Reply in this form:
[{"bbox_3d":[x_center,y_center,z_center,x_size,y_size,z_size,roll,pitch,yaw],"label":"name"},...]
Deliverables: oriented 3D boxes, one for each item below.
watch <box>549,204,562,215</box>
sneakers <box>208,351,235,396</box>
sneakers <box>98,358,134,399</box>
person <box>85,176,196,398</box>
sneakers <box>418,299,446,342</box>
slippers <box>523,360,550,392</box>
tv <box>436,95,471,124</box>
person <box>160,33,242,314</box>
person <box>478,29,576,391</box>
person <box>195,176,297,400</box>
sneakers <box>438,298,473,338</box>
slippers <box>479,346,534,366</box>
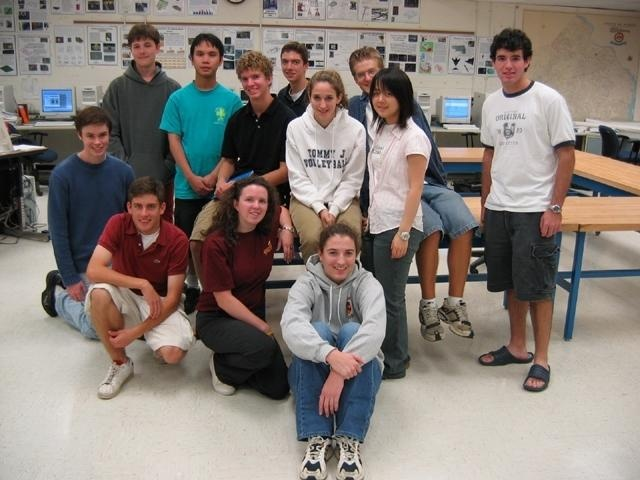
[{"bbox_3d":[1.339,-0.186,2.976,0.065,0.044,0.066,6,5,-16],"label":"watch"},{"bbox_3d":[-0.577,0.769,3.071,0.101,0.281,0.107,0,-29,-45],"label":"sneakers"},{"bbox_3d":[-1.179,0.793,3.010,0.106,0.128,0.294,8,19,11],"label":"sneakers"},{"bbox_3d":[-1.042,0.238,3.059,0.639,1.171,0.450,-8,18,-26],"label":"person"},{"bbox_3d":[0.675,0.494,3.171,0.105,0.130,0.285,-3,22,2],"label":"sneakers"},{"bbox_3d":[1.291,0.808,3.088,0.082,0.076,0.230,-1,10,27],"label":"slippers"},{"bbox_3d":[2.150,-2.052,8.411,0.548,0.484,0.405,1,13,1],"label":"tv"},{"bbox_3d":[-0.845,-0.499,3.882,0.621,1.975,0.570,-2,9,-16],"label":"person"},{"bbox_3d":[1.152,-0.070,3.104,0.387,1.796,0.675,-16,22,-42],"label":"person"},{"bbox_3d":[-0.452,0.247,3.041,0.580,1.206,0.609,-2,16,-4],"label":"person"},{"bbox_3d":[0.859,0.474,3.235,0.138,0.163,0.331,6,18,-24],"label":"sneakers"},{"bbox_3d":[1.154,0.756,3.295,0.352,0.114,0.133,1,12,1],"label":"slippers"}]
